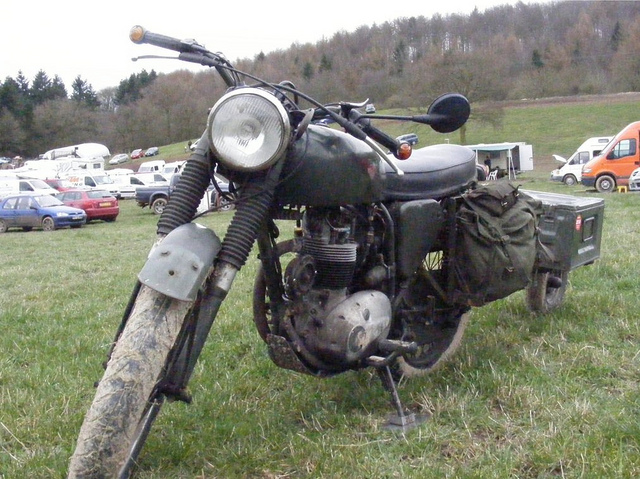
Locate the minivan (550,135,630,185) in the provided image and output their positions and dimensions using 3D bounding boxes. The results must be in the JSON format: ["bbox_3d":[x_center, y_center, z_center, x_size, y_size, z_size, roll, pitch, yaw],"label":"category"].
[{"bbox_3d":[11.914,-3.374,29.313,3.329,2.042,1.375,1,7,18],"label":"minivan"}]

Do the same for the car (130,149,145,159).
[{"bbox_3d":[-19.175,-8.981,71.208,1.296,1.141,2.014,-1,6,12],"label":"car"}]

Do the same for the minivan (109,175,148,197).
[{"bbox_3d":[-9.586,-2.654,33.898,1.560,1.373,2.441,-13,10,-42],"label":"minivan"}]

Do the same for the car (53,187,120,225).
[{"bbox_3d":[-8.573,-1.213,24.676,1.148,1.021,2.408,-10,18,-44],"label":"car"}]

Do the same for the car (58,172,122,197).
[{"bbox_3d":[-10.836,-2.591,31.917,2.665,1.411,1.778,1,16,17],"label":"car"}]

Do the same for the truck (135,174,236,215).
[{"bbox_3d":[-5.466,-2.045,27.205,3.548,1.767,1.814,-2,17,7],"label":"truck"}]

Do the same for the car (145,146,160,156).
[{"bbox_3d":[-16.982,-8.916,68.961,0.843,0.829,1.587,2,13,23],"label":"car"}]

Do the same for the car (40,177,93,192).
[{"bbox_3d":[-11.534,-2.482,30.802,2.099,0.923,1.239,1,13,21],"label":"car"}]
